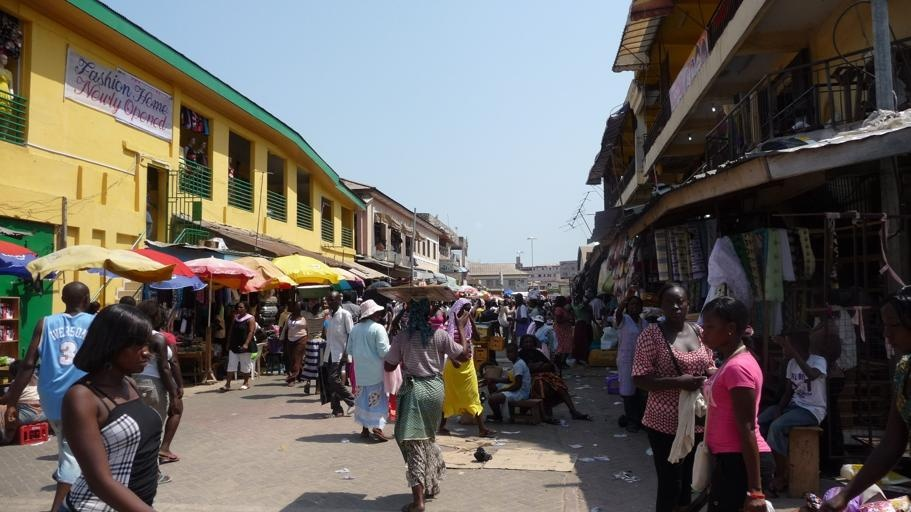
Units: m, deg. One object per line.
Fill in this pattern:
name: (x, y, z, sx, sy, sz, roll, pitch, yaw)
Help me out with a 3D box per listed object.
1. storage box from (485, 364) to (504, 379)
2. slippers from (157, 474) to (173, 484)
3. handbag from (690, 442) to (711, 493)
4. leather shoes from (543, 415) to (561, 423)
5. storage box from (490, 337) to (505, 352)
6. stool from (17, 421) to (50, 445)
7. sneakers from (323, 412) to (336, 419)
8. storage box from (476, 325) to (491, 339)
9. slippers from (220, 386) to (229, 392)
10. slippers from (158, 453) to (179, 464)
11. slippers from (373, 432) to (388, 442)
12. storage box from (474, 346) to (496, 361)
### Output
storage box: (0.856, 2.695, 15.391, 0.354, 0.207, 0.345, 1, -1, 8)
slippers: (-4.804, 3.658, 11.058, 0.188, 0.104, 0.332, -3, 7, -25)
handbag: (3.125, 2.696, 8.519, 0.213, 0.688, 0.230, 3, 8, 20)
leather shoes: (2.051, 3.511, 14.204, 0.407, 0.129, 0.154, 12, -43, -9)
storage box: (1.195, 2.532, 19.107, 0.426, 0.381, 0.407, -1, -7, 4)
stool: (-7.893, 3.344, 12.537, 0.391, 0.236, 0.390, -6, -7, 33)
sneakers: (-2.771, 3.537, 14.731, 0.241, 0.158, 0.081, 2, -14, 8)
storage box: (0.851, 2.341, 20.392, 0.603, 0.332, 0.579, -1, -6, 5)
slippers: (-5.992, 3.461, 17.336, 0.310, 0.121, 0.141, -1, -6, 24)
slippers: (-5.016, 3.553, 11.675, 0.348, 0.134, 0.121, 2, 0, -18)
slippers: (-1.465, 3.517, 12.904, 0.150, 0.122, 0.303, -6, -26, 14)
storage box: (0.786, 2.793, 18.834, 0.710, 0.356, 0.633, 2, -2, 1)
